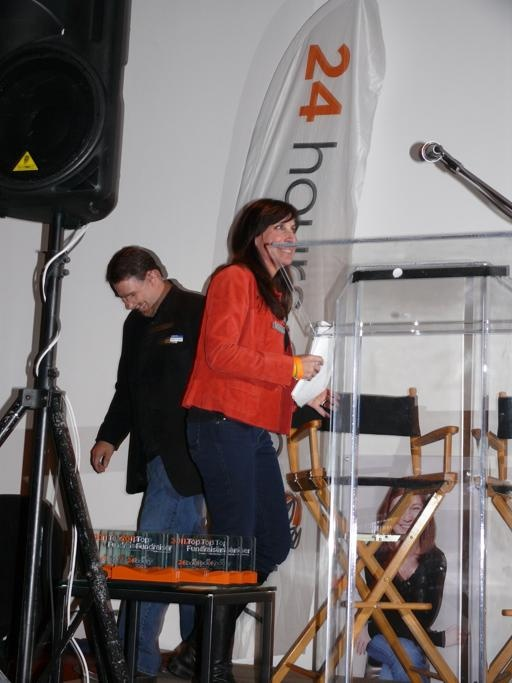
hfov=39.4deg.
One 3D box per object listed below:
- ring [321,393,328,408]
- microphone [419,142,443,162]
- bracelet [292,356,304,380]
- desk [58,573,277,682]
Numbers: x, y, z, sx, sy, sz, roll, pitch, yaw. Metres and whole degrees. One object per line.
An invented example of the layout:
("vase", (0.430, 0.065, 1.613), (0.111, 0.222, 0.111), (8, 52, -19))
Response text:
("ring", (0.186, 0.156, 1.940), (0.009, 0.029, 0.030), (9, -10, -36))
("microphone", (0.488, -0.533, 1.994), (0.061, 0.062, 0.111), (1, -1, 14))
("bracelet", (0.105, 0.067, 1.822), (0.034, 0.046, 0.038), (-3, 4, 7))
("desk", (-0.187, 0.687, 1.783), (0.388, 0.366, 0.369), (-5, -13, 34))
